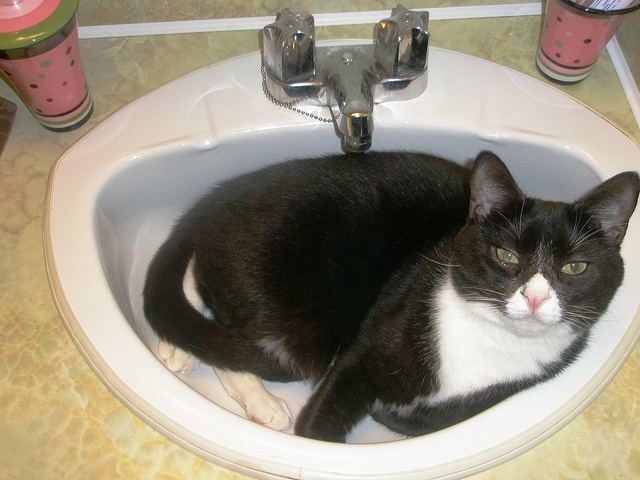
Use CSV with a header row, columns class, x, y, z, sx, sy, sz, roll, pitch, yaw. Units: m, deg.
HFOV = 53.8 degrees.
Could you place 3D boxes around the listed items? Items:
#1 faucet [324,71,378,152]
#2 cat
class,x,y,z,sx,sy,sz,roll,pitch,yaw
faucet,0.053,-0.221,1.056,0.075,0.073,0.140,-2,55,-2
cat,0.113,0.100,1.215,0.784,0.521,0.521,4,45,-5
